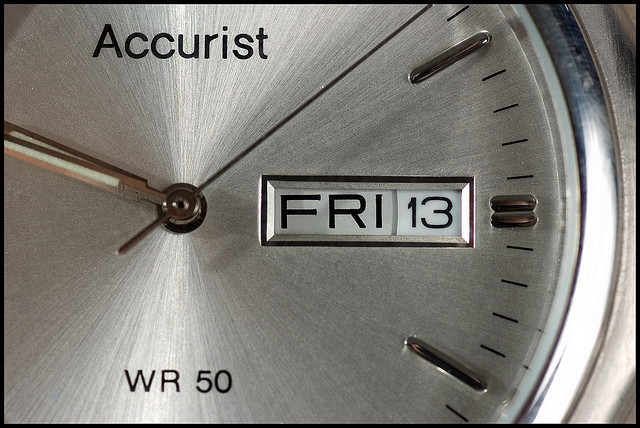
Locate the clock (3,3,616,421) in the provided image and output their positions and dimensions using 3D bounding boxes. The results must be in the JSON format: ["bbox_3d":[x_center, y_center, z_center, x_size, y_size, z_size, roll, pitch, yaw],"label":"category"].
[{"bbox_3d":[-0.044,-0.004,0.756,1.186,0.161,0.885,6,-86,-4],"label":"clock"}]
